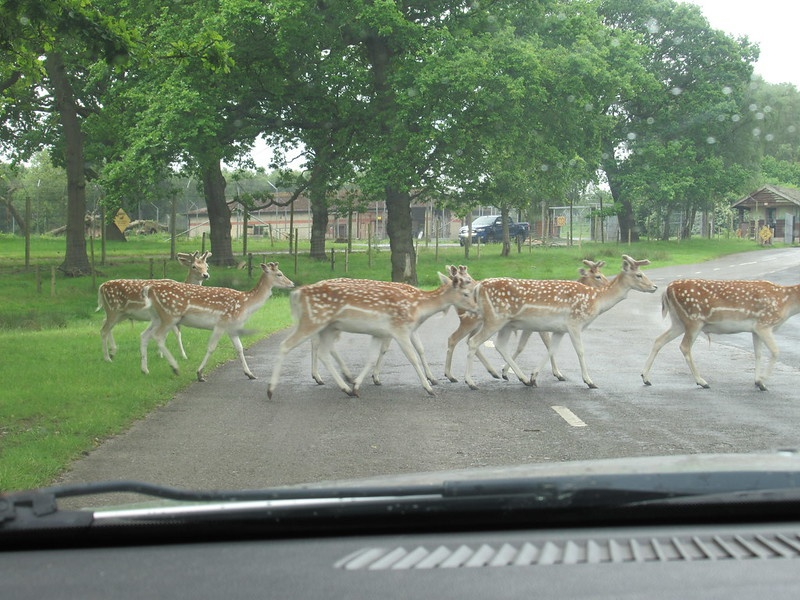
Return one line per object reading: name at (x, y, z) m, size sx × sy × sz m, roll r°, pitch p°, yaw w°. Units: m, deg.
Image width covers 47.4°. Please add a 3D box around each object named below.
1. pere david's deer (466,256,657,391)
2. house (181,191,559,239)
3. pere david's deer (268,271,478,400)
pere david's deer at (2.213, 0.292, 13.404) m, size 2.666 × 1.836 × 1.327 m, roll -1°, pitch 1°, yaw -4°
house at (-2.999, -9.060, 99.677) m, size 43.187 × 4.668 × 3.934 m, roll 3°, pitch 7°, yaw 22°
pere david's deer at (-0.382, 0.419, 12.910) m, size 2.822 × 1.698 × 1.607 m, roll -1°, pitch 1°, yaw -9°
